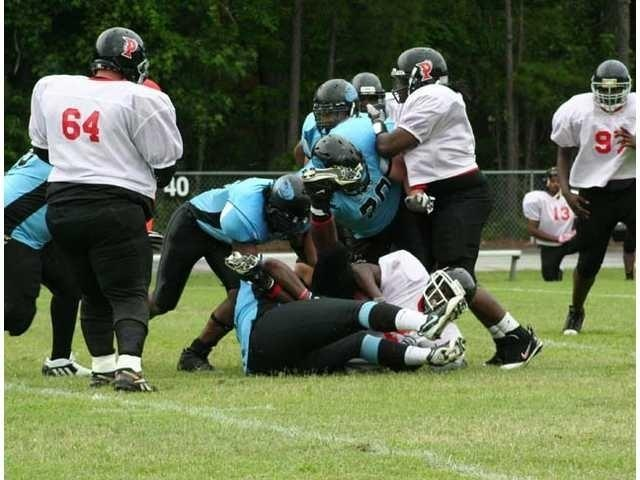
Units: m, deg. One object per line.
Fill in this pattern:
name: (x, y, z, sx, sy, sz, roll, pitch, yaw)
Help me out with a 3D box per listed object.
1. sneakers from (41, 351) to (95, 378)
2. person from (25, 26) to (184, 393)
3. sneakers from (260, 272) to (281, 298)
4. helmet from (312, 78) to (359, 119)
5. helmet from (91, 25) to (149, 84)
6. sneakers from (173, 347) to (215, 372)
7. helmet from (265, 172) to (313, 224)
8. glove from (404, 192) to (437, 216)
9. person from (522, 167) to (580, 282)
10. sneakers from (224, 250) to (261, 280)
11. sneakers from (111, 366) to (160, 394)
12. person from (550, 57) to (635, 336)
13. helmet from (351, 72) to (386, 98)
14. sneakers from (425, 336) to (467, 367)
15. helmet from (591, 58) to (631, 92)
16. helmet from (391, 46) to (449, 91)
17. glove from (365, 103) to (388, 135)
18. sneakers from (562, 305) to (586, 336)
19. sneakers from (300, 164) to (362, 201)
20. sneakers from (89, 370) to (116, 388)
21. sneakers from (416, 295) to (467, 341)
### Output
sneakers: (-1.951, 0.961, 7.986, 0.437, 0.176, 0.144, 2, 2, -18)
person: (-1.613, -0.232, 7.712, 1.103, 2.449, 1.160, 5, 6, 14)
sneakers: (-0.366, 0.329, 7.613, 0.139, 0.189, 0.104, -4, 8, -20)
helmet: (0.122, -1.124, 8.409, 0.424, 0.331, 0.322, -14, 21, -34)
helmet: (-1.469, -1.336, 7.629, 0.444, 0.407, 0.327, -2, 11, -38)
sneakers: (-0.989, 0.930, 8.114, 0.357, 0.235, 0.124, -1, -7, 6)
helmet: (-0.231, -0.285, 7.550, 0.276, 0.345, 0.317, -23, 5, -27)
glove: (0.749, -0.276, 7.911, 0.192, 0.166, 0.158, -14, 3, 10)
person: (3.372, 0.044, 14.875, 0.837, 2.112, 0.817, 3, 27, 25)
sneakers: (-0.549, 0.188, 7.509, 0.251, 0.218, 0.139, -1, 8, -3)
sneakers: (-1.268, 0.963, 7.205, 0.300, 0.131, 0.138, 6, -1, -32)
person: (2.459, -0.370, 9.483, 0.742, 2.460, 0.512, 1, 8, 12)
helmet: (0.415, -1.434, 9.763, 0.234, 0.258, 0.297, -6, -7, 25)
sneakers: (0.849, 0.786, 7.347, 0.229, 0.153, 0.303, -1, -2, -40)
helmet: (2.566, -1.449, 9.287, 0.331, 0.278, 0.277, 1, 8, 13)
helmet: (0.810, -1.405, 8.605, 0.472, 0.343, 0.351, -6, 14, 3)
glove: (0.447, -0.947, 8.246, 0.152, 0.225, 0.364, 0, 7, 3)
sneakers: (2.321, 0.752, 9.689, 0.123, 0.360, 0.159, 16, -9, 34)
sneakers: (0.081, -0.409, 7.443, 0.403, 0.151, 0.203, -5, 31, -5)
sneakers: (-1.565, 0.991, 7.501, 0.155, 0.095, 0.049, -2, -22, -10)
sneakers: (0.819, 0.532, 7.272, 0.442, 0.149, 0.206, -41, 23, -22)
